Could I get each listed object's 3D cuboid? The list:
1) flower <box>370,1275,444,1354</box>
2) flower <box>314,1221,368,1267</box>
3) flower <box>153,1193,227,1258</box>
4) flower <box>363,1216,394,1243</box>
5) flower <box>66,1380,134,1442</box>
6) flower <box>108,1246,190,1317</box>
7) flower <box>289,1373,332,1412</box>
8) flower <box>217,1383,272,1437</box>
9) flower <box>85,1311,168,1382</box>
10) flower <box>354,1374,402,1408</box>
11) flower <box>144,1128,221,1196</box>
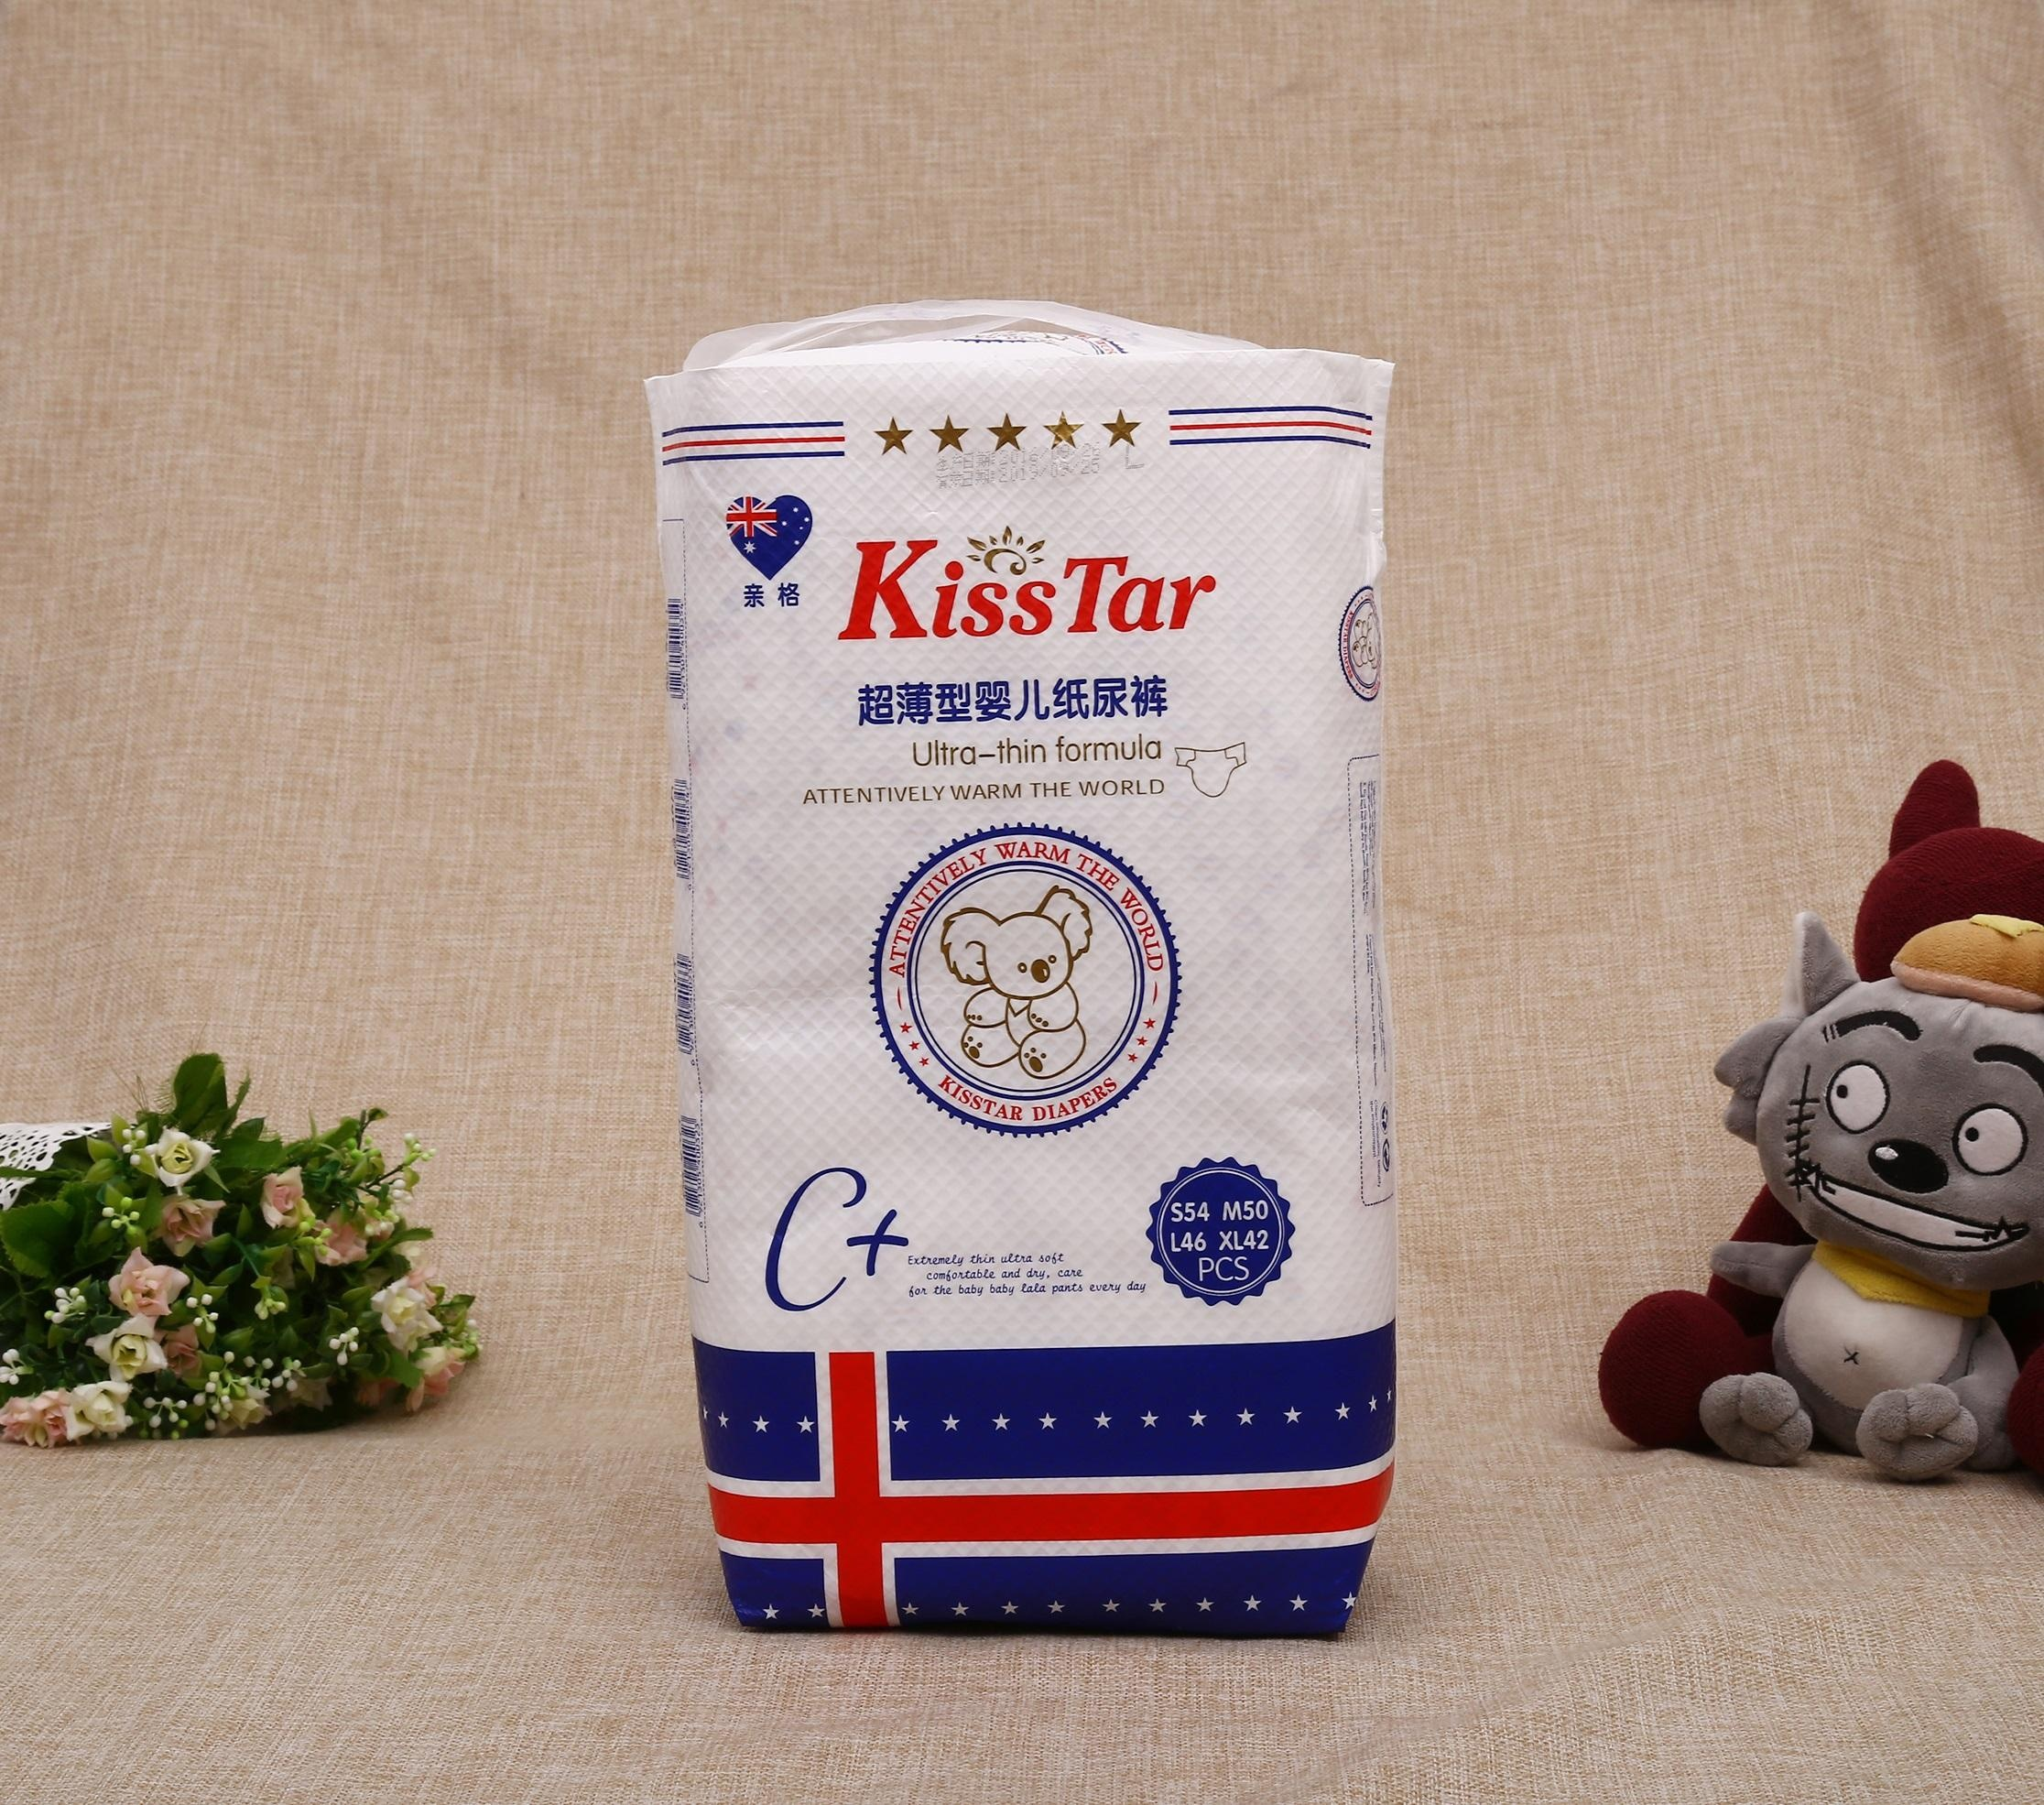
[{"bbox_3d":[-0.465,0.321,1.879,0.039,0.056,0.054,-18,47,16],"label":"flower"},{"bbox_3d":[-0.521,0.261,1.862,0.025,0.040,0.033,-16,53,30],"label":"flower"},{"bbox_3d":[-0.629,0.241,1.833,0.036,0.041,0.044,17,50,12],"label":"flower"},{"bbox_3d":[-0.505,0.255,1.893,0.026,0.021,0.008,-3,56,-9],"label":"flower"},{"bbox_3d":[-0.678,0.372,1.789,0.054,0.037,0.026,-8,10,-34],"label":"flower"},{"bbox_3d":[-0.643,0.280,1.793,0.064,0.029,0.047,13,80,-20],"label":"flower"},{"bbox_3d":[-0.545,0.377,1.865,0.035,0.048,0.011,-9,55,-8],"label":"flower"},{"bbox_3d":[-0.588,0.384,1.830,0.048,0.047,0.025,-26,87,-22],"label":"flower"},{"bbox_3d":[-0.658,0.331,1.797,0.071,0.046,0.027,-2,7,-7],"label":"flower"},{"bbox_3d":[-0.503,0.381,1.889,0.011,0.023,0.039,10,12,37],"label":"flower"},{"bbox_3d":[-0.633,0.193,1.821,0.053,0.023,0.048,38,71,1],"label":"flower"}]
